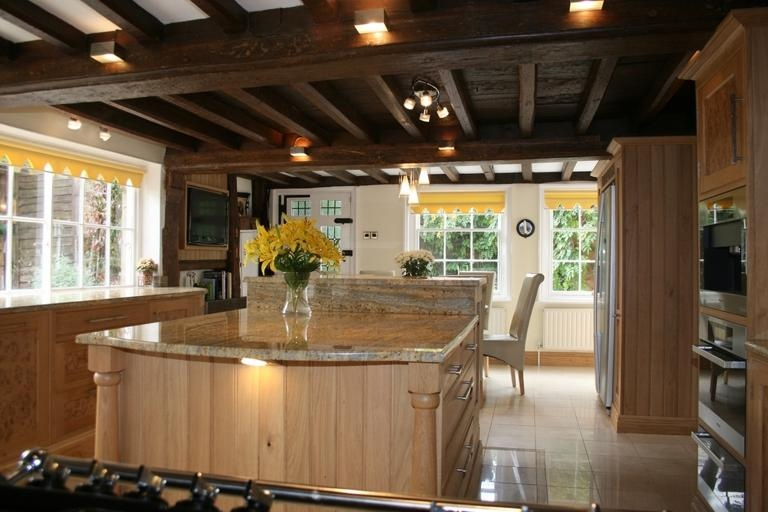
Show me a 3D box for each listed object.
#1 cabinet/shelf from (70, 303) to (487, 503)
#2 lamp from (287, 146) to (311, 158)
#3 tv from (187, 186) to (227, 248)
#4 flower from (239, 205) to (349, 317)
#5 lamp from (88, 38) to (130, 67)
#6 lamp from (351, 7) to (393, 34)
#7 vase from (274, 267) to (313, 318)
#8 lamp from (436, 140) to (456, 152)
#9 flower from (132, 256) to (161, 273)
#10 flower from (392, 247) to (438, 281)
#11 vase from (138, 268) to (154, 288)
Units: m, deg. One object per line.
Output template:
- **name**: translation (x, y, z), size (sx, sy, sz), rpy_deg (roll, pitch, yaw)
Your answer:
- **cabinet/shelf**: translation (-0.309, 0.592, 2.806), size (1.464, 0.601, 1.371), rpy_deg (-1, -3, 24)
- **lamp**: translation (-0.945, -1.135, 5.602), size (0.213, 0.108, 0.103), rpy_deg (2, -1, 12)
- **tv**: translation (-2.293, -0.503, 6.546), size (0.136, 0.577, 0.924), rpy_deg (1, -1, 21)
- **flower**: translation (-0.635, 0.063, 3.269), size (0.674, 0.576, 0.668), rpy_deg (-8, -10, 43)
- **lamp**: translation (-1.854, -1.355, 3.446), size (0.262, 0.110, 0.168), rpy_deg (1, -6, 19)
- **lamp**: translation (-0.078, -1.376, 3.004), size (0.225, 0.090, 0.145), rpy_deg (1, -4, 17)
- **vase**: translation (-0.515, 0.227, 3.177), size (0.308, 0.296, 0.265), rpy_deg (0, -5, -3)
- **lamp**: translation (0.638, -1.127, 5.309), size (0.218, 0.113, 0.107), rpy_deg (1, 1, 8)
- **flower**: translation (-2.677, 0.092, 5.745), size (0.226, 0.133, 0.211), rpy_deg (-2, -4, 22)
- **flower**: translation (0.297, 0.071, 4.684), size (0.318, 0.175, 0.283), rpy_deg (1, -10, -5)
- **vase**: translation (-2.627, 0.227, 5.792), size (0.196, 0.181, 0.183), rpy_deg (-3, -5, 25)
